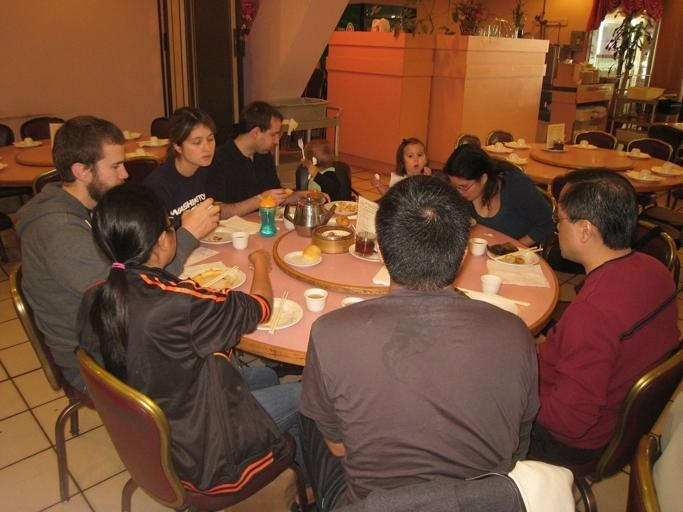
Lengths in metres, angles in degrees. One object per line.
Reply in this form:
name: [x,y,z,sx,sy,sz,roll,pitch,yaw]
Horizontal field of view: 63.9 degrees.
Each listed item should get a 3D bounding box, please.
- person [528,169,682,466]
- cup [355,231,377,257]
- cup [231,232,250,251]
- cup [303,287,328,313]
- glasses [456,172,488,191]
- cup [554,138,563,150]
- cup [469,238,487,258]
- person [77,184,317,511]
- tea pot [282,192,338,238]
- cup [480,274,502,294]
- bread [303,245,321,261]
person: [1.025,0.275,2.106,0.504,1.011,0.614,11,24,21]
cup: [0.111,-0.064,2.676,0.084,0.091,0.112,2,0,36]
cup: [-0.514,-0.077,2.773,0.075,0.069,0.084,-6,29,-20]
cup: [-0.109,0.174,2.309,0.080,0.064,0.087,0,22,0]
glasses: [0.750,-0.440,3.187,0.178,0.070,0.208,1,53,8]
cup: [2.028,-1.037,5.076,0.092,0.106,0.104,-1,21,3]
cup: [0.703,-0.044,2.823,0.077,0.070,0.085,6,13,-1]
person: [-0.534,0.293,1.943,0.625,1.005,0.512,-10,25,-28]
tea pot: [-0.161,-0.218,3.043,0.305,0.242,0.215,-9,31,-18]
cup: [0.656,0.120,2.406,0.072,0.060,0.076,2,6,0]
bread: [-0.143,-0.026,2.620,0.059,0.053,0.065,9,22,4]
